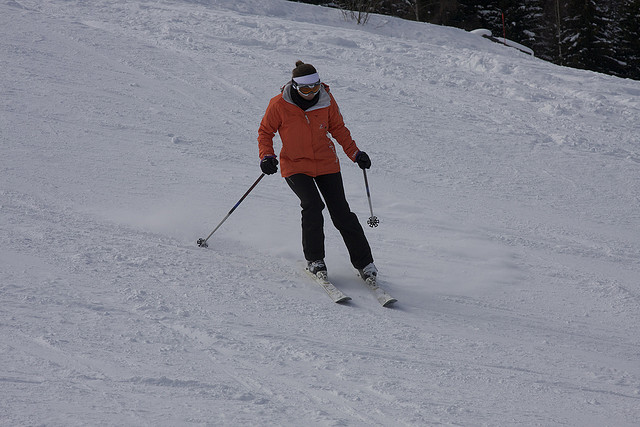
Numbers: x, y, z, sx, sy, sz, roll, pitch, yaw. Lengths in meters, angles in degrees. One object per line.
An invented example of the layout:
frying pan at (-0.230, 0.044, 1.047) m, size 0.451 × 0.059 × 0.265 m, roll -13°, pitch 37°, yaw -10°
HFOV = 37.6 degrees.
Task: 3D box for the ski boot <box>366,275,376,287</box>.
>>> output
ski boot at (0.677, 0.867, 12.108) m, size 0.176 × 0.087 × 0.052 m, roll 12°, pitch 30°, yaw 10°

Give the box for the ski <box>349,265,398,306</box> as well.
ski at (0.719, 0.948, 12.152) m, size 0.221 × 0.202 × 0.863 m, roll 1°, pitch 17°, yaw -31°

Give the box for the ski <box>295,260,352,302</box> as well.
ski at (0.036, 0.880, 12.116) m, size 0.211 × 0.222 × 0.966 m, roll -4°, pitch 20°, yaw -39°
